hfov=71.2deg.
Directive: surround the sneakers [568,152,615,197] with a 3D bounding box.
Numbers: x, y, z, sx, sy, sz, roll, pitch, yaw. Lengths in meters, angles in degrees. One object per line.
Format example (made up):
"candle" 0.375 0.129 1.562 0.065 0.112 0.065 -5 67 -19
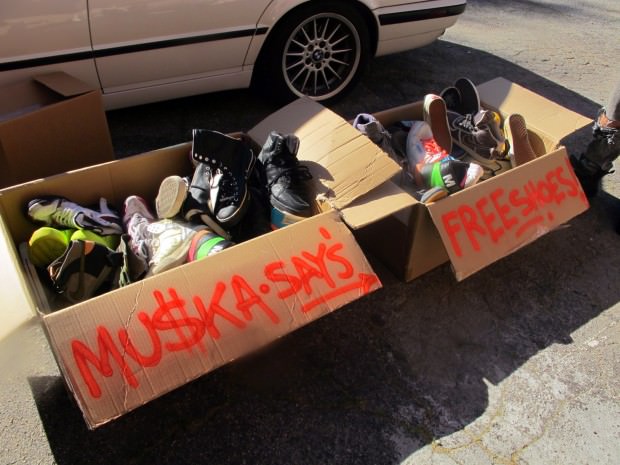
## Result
"sneakers" 1.639 -0.342 2.540 0.290 0.102 0.120 31 47 1
